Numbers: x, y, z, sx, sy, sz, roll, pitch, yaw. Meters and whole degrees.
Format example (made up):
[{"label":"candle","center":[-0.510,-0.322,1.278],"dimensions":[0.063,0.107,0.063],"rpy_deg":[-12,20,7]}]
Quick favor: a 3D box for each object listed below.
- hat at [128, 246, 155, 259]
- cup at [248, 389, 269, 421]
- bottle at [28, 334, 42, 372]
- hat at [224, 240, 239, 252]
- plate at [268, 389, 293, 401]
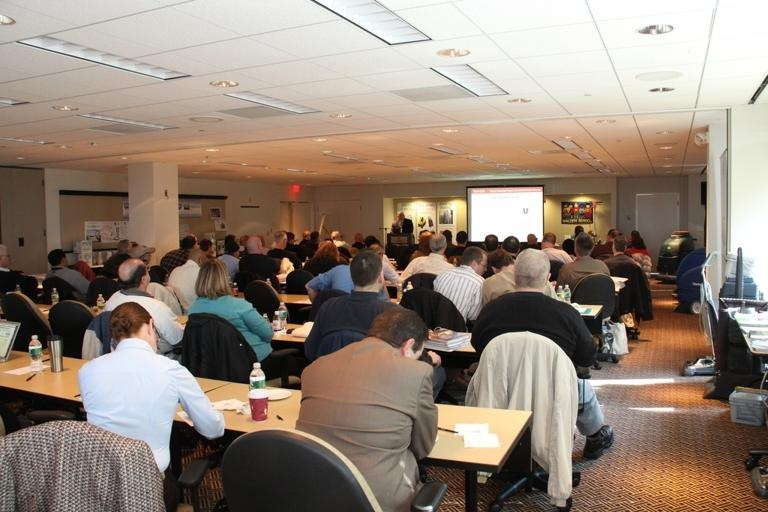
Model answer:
[{"label":"hat","center":[-4.571,-0.079,9.891],"dimensions":[0.369,0.097,0.339],"rpy_deg":[6,10,11]},{"label":"cup","center":[-0.786,0.927,3.303],"dimensions":[0.108,0.191,0.141],"rpy_deg":[-2,8,-12]},{"label":"bottle","center":[-2.866,0.788,4.338],"dimensions":[0.084,0.278,0.379],"rpy_deg":[-6,9,-34]},{"label":"hat","center":[-2.750,-0.172,9.550],"dimensions":[0.258,0.108,0.349],"rpy_deg":[-1,6,-28]},{"label":"plate","center":[-0.716,0.953,3.651],"dimensions":[0.164,0.046,0.176],"rpy_deg":[-1,6,-11]}]
